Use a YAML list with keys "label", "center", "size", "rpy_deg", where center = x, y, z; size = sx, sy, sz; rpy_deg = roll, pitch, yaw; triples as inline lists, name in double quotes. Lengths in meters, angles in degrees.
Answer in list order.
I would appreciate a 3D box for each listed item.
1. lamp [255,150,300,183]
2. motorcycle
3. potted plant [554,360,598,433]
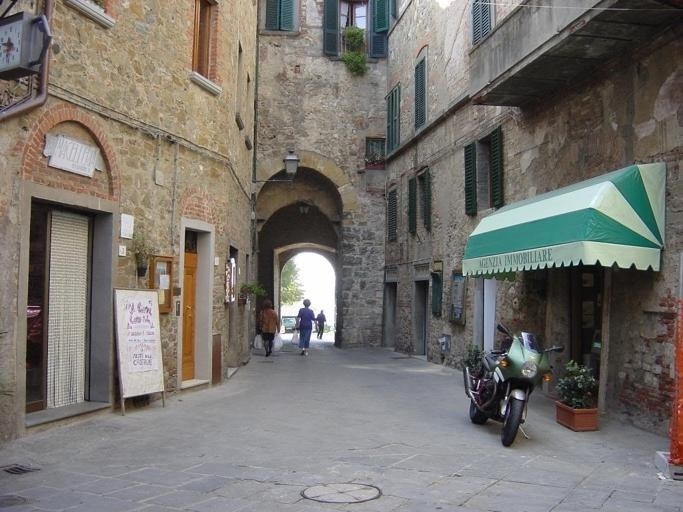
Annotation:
- label: "lamp"
  center: [-2.078, -2.845, 18.939]
  size: [1.445, 1.046, 0.558]
  rpy_deg: [2, -5, -13]
- label: "motorcycle"
  center: [2.316, 1.828, 8.621]
  size: [0.903, 1.468, 2.338]
  rpy_deg: [20, -7, 0]
- label: "potted plant"
  center: [3.488, 2.081, 8.835]
  size: [0.463, 0.869, 0.700]
  rpy_deg: [6, -13, 2]
